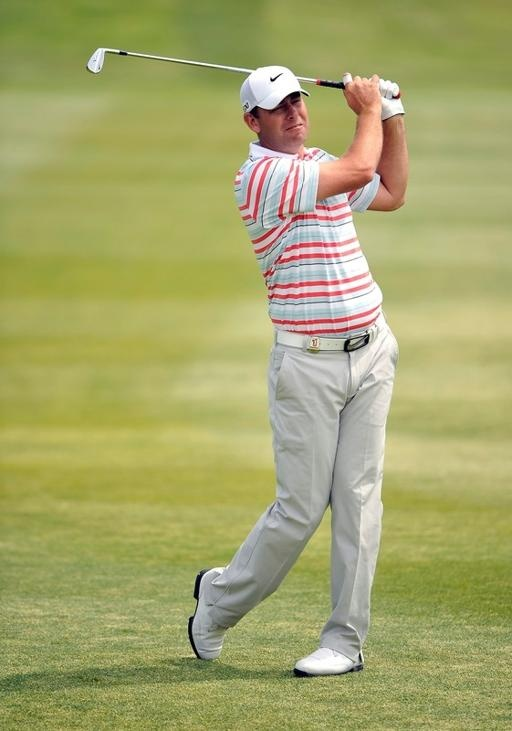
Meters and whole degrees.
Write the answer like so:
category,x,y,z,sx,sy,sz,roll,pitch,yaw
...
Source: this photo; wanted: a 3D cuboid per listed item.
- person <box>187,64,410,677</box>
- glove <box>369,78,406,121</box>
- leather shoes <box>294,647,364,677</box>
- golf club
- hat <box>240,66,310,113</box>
category,x,y,z,sx,sy,sz,roll,pitch,yaw
person,0.080,0.012,2.785,0.536,1.674,0.374,2,8,16
glove,0.383,-0.775,2.962,0.062,0.112,0.108,-3,8,41
leather shoes,0.198,0.808,2.739,0.206,0.066,0.072,-1,7,-11
golf club,-0.187,-0.949,3.257,1.132,0.115,0.157,20,36,38
hat,0.047,-0.753,2.793,0.188,0.133,0.117,-8,17,-26
